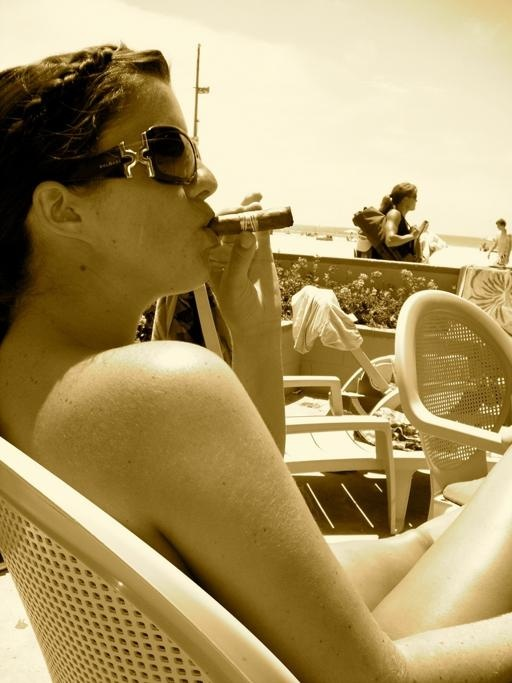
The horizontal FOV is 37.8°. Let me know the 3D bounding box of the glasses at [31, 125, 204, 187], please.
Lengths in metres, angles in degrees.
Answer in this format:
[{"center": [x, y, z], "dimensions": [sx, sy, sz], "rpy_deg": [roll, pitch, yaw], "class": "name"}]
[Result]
[{"center": [-0.180, -0.252, 1.047], "dimensions": [0.151, 0.051, 0.112], "rpy_deg": [-11, 18, -9], "class": "glasses"}]
